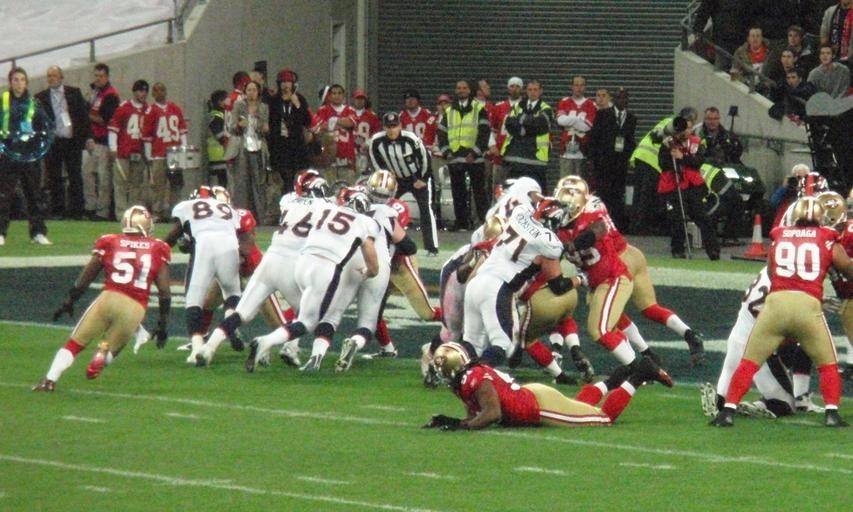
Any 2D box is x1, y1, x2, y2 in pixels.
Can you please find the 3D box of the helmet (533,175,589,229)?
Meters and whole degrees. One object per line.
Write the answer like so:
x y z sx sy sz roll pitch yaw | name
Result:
1.517 -0.586 15.071 0.613 0.520 0.427 -15 -13 1 | helmet

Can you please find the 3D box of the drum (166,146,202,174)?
-3.975 -1.574 22.597 0.447 0.306 0.441 0 6 0 | drum

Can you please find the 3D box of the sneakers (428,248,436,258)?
0.093 -0.037 18.825 0.155 0.103 0.053 -2 11 -1 | sneakers

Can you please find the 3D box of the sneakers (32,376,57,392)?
-3.860 1.290 13.867 0.290 0.129 0.103 2 -8 27 | sneakers

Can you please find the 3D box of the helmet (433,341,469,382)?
0.215 0.969 13.073 0.324 0.364 0.291 25 19 -14 | helmet

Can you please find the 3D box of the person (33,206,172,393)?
-3.303 0.412 14.271 1.435 1.844 0.712 0 3 -28 | person

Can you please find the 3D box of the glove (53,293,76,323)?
-4.276 0.616 16.239 0.310 0.153 0.500 38 -28 -10 | glove

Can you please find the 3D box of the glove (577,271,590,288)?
1.679 0.234 14.895 0.110 0.145 0.239 3 3 34 | glove

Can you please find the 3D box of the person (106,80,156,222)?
-4.898 -1.726 22.628 0.623 2.210 0.627 1 3 -9 | person

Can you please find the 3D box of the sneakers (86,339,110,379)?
-3.365 1.073 14.114 0.159 0.460 0.198 20 -22 -6 | sneakers

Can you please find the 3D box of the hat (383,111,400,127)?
-0.477 -1.887 19.113 0.200 0.138 0.269 -3 9 1 | hat

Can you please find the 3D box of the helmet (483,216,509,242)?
0.739 -0.298 14.872 0.221 0.248 0.240 15 35 -12 | helmet

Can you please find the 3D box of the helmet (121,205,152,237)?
-3.062 -0.373 14.578 0.254 0.315 0.341 7 11 39 | helmet

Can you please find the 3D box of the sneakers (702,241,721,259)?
4.007 -0.077 19.265 0.212 0.251 0.318 1 3 8 | sneakers

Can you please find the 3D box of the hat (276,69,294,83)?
-2.151 -2.780 21.259 0.233 0.166 0.319 0 -5 -5 | hat

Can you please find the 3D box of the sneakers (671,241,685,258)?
3.556 -0.091 19.451 0.224 0.273 0.177 1 4 -26 | sneakers

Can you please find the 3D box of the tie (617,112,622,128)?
3.035 -2.111 21.529 0.056 0.249 0.066 -3 -13 1 | tie
